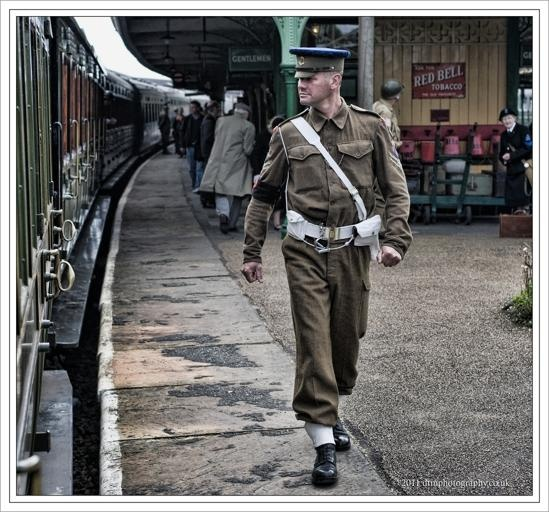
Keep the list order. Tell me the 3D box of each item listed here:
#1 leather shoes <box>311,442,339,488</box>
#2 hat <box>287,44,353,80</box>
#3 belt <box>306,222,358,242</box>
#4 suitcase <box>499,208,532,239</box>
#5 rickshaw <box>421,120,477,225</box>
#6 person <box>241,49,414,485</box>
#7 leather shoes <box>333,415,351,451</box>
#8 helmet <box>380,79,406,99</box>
[{"bbox_3d":[0.216,0.887,2.993,0.110,0.173,0.141,0,8,5],"label":"leather shoes"},{"bbox_3d":[0.229,-0.905,3.228,0.201,0.094,0.185,-14,22,-43],"label":"hat"},{"bbox_3d":[0.254,-0.107,3.119,0.224,0.078,0.036,-2,8,-8],"label":"belt"},{"bbox_3d":[3.731,-0.478,10.921,0.569,0.570,0.336,-1,3,2],"label":"suitcase"},{"bbox_3d":[3.236,-1.315,13.126,0.722,1.796,2.463,-10,-4,-3],"label":"rickshaw"},{"bbox_3d":[0.265,-0.148,3.313,0.695,1.646,0.688,-6,9,-30],"label":"person"},{"bbox_3d":[0.322,0.879,3.409,0.068,0.091,0.209,-2,1,2],"label":"leather shoes"},{"bbox_3d":[1.749,-2.486,10.229,0.272,0.185,0.376,8,34,30],"label":"helmet"}]
